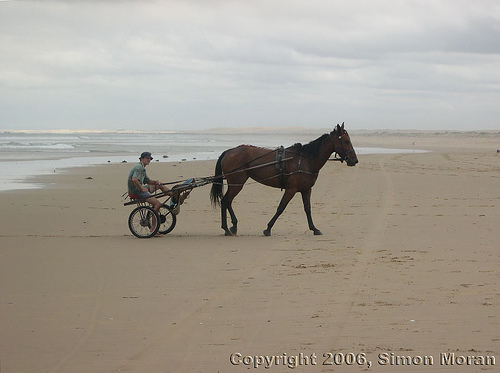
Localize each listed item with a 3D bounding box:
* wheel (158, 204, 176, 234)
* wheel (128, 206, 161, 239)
[{"bbox_3d":[-2.275,0.865,17.692,0.716,0.740,0.710,0,-4,0],"label":"wheel"},{"bbox_3d":[-2.589,0.899,17.043,0.793,0.793,0.211,0,3,2],"label":"wheel"}]
